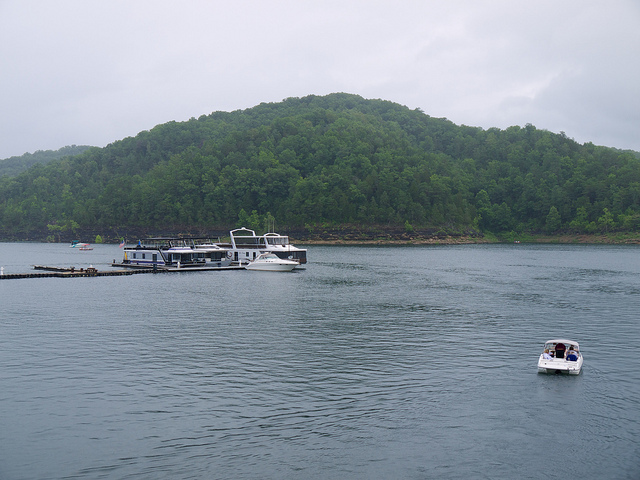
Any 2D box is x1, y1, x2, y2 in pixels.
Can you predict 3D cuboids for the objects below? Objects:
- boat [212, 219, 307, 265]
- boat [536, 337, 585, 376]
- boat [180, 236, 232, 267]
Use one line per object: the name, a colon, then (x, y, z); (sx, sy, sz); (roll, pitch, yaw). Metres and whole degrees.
boat: (-13.154, 2.324, 132.025); (21.410, 8.925, 6.134); (-2, -7, 0)
boat: (18.011, 8.755, 47.786); (2.796, 1.748, 4.071); (5, 9, 25)
boat: (-23.250, 3.042, 132.977); (9.988, 4.723, 6.064); (-2, 2, -19)
